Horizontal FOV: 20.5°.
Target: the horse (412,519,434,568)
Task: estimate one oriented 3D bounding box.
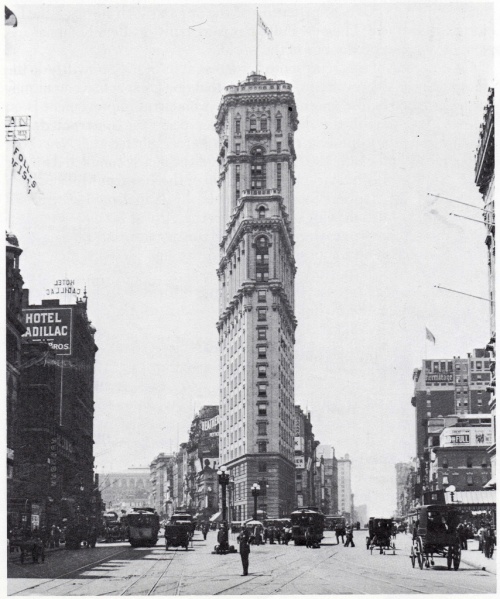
[{"bbox_3d":[8.103,11.152,65.579,0.508,1.149,1.559,29,-13,-19],"label":"horse"}]

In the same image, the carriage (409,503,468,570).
[{"bbox_3d":[8.829,11.470,66.062,2.167,3.033,4.768,-2,-17,6],"label":"carriage"}]

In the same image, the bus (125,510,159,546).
[{"bbox_3d":[-7.598,16.049,97.611,1.994,3.111,3.068,-6,-17,20],"label":"bus"}]
